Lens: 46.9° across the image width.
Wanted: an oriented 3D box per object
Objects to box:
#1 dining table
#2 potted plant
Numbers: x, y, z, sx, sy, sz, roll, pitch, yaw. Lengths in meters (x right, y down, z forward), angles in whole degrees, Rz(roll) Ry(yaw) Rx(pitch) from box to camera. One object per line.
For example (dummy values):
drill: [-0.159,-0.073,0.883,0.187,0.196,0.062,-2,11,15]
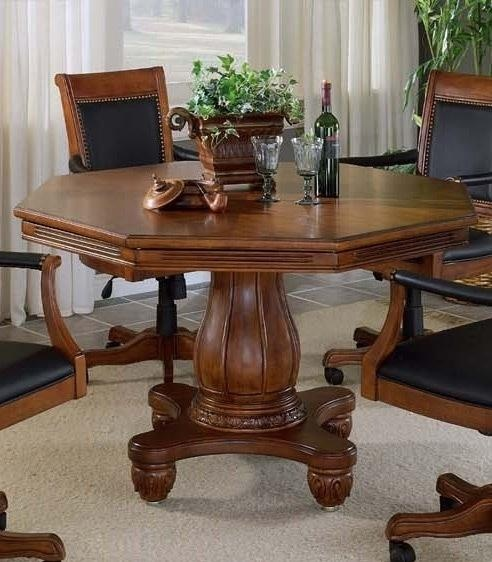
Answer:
dining table: [0.028,0.168,1.552,1.106,0.591,1.015,3,5,18]
potted plant: [-0.040,-0.421,1.570,0.387,0.300,0.231,1,16,-6]
